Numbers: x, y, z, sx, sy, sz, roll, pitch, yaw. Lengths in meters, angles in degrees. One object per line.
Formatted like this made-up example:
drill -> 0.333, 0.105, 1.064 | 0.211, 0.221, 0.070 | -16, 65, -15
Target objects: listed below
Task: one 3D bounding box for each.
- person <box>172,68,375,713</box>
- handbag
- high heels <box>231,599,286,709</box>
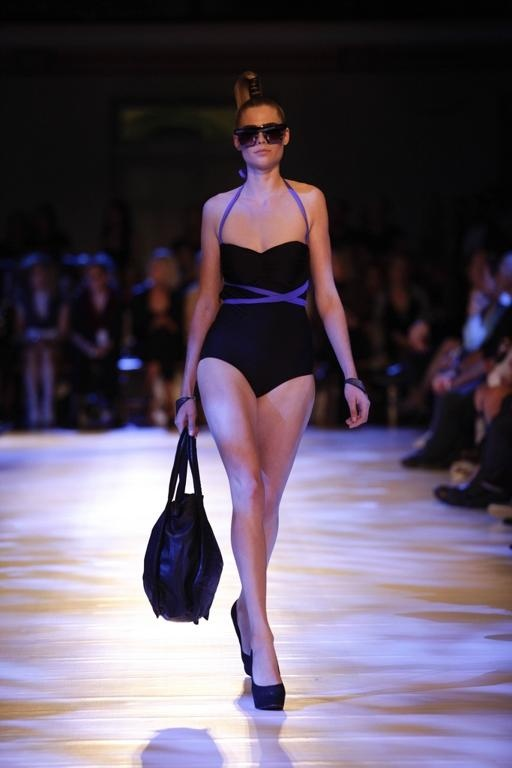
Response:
person -> 0.006, -0.007, 2.018 | 0.414, 1.251, 0.446 | 4, 7, 24
handbag -> -0.167, 0.308, 2.013 | 0.149, 0.422, 0.205 | -1, 7, -18
high heels -> 0.002, 0.529, 1.946 | 0.062, 0.246, 0.062 | -4, -35, -13
